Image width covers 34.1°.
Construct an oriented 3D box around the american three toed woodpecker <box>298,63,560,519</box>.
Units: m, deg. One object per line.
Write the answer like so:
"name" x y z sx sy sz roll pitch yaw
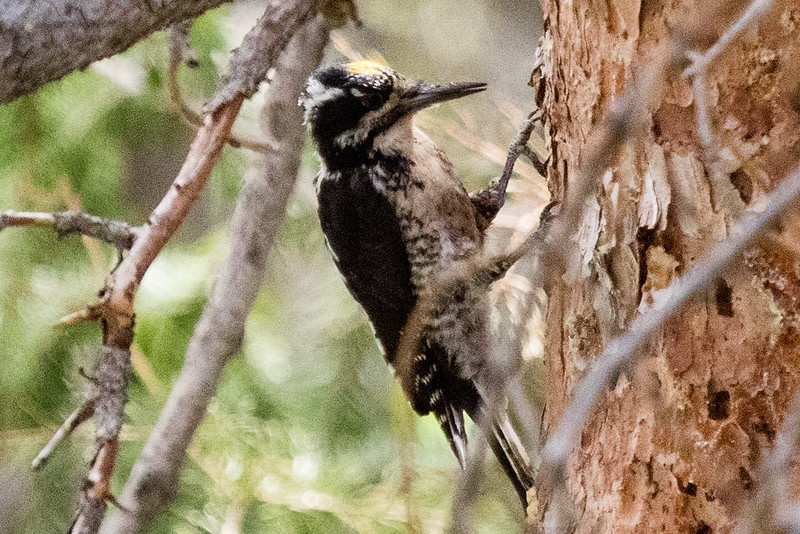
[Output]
"american three toed woodpecker" 0.015 -0.066 2.683 0.562 0.615 0.450 23 -39 -17
